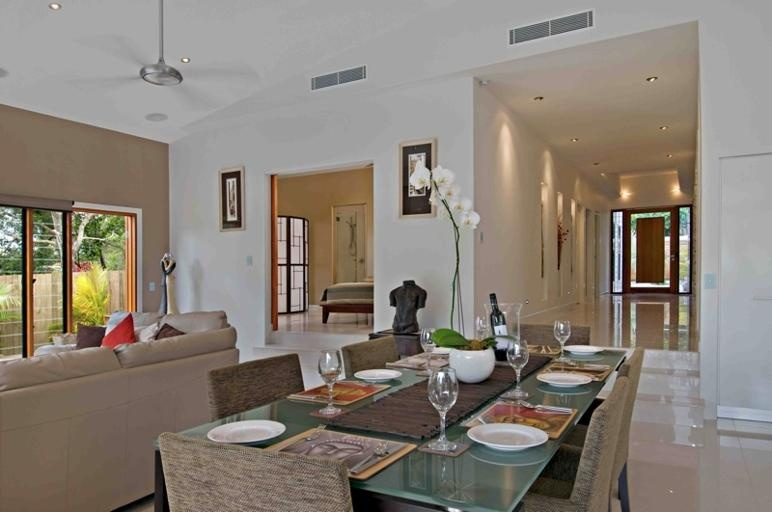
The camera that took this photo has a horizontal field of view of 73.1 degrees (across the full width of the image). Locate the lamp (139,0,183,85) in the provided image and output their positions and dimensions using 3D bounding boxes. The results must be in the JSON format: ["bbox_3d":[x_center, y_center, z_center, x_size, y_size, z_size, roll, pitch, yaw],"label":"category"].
[{"bbox_3d":[-2.339,-2.203,5.400,0.351,0.895,1.286,1,11,-25],"label":"lamp"}]

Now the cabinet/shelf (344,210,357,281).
[{"bbox_3d":[-0.770,-0.207,12.008,0.161,1.427,0.446,0,12,-27],"label":"cabinet/shelf"}]

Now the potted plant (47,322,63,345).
[{"bbox_3d":[-4.297,0.999,6.738,0.097,0.309,0.243,-6,-10,20],"label":"potted plant"}]

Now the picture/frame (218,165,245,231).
[{"bbox_3d":[-2.385,-0.883,8.118,0.646,0.982,0.216,13,13,34],"label":"picture/frame"}]

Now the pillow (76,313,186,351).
[{"bbox_3d":[-2.766,0.797,5.336,0.581,0.168,0.587,0,1,14],"label":"pillow"}]
